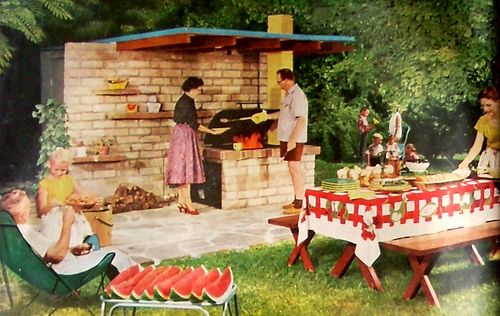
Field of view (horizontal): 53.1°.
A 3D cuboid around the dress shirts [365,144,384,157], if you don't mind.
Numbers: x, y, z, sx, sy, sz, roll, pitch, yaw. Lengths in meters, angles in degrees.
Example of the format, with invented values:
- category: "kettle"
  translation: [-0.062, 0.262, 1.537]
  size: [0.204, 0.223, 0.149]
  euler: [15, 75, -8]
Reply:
- category: "dress shirts"
  translation: [3.089, -0.183, 12.326]
  size: [0.484, 0.387, 0.270]
  euler: [1, 0, 6]

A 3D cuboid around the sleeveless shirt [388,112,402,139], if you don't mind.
- category: "sleeveless shirt"
  translation: [3.745, -0.819, 12.852]
  size: [0.279, 0.701, 1.048]
  euler: [3, 15, 14]

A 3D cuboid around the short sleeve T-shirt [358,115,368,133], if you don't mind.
- category: "short sleeve T-shirt"
  translation: [3.539, -1.059, 15.595]
  size: [0.272, 0.572, 0.527]
  euler: [-1, 7, -6]

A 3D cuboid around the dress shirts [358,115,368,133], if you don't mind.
- category: "dress shirts"
  translation: [3.539, -1.059, 15.595]
  size: [0.272, 0.572, 0.527]
  euler: [-1, 7, -6]

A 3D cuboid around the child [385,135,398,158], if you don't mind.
- category: "child"
  translation: [3.516, -0.275, 12.304]
  size: [0.315, 0.558, 0.264]
  euler: [5, 15, 20]

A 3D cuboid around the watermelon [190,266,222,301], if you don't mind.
- category: "watermelon"
  translation: [-0.572, 1.564, 6.230]
  size: [0.232, 0.156, 0.646]
  euler: [4, 13, 12]

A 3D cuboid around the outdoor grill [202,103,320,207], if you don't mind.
- category: "outdoor grill"
  translation: [0.014, 0.220, 11.186]
  size: [3.597, 2.950, 1.839]
  euler: [1, -4, -15]

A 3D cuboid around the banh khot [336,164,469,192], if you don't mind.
- category: "banh khot"
  translation: [2.229, 0.327, 7.655]
  size: [0.873, 0.113, 0.871]
  euler: [3, 4, 43]

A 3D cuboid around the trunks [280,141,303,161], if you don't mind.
- category: "trunks"
  translation: [0.849, -0.223, 10.195]
  size: [0.320, 0.462, 0.579]
  euler: [-1, 2, -36]

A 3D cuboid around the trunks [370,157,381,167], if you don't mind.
- category: "trunks"
  translation: [2.985, 0.065, 11.864]
  size: [0.166, 0.212, 0.178]
  euler: [-6, 9, -39]

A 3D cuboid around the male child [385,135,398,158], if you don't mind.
- category: "male child"
  translation: [3.516, -0.275, 12.304]
  size: [0.315, 0.558, 0.265]
  euler: [5, 15, 19]
